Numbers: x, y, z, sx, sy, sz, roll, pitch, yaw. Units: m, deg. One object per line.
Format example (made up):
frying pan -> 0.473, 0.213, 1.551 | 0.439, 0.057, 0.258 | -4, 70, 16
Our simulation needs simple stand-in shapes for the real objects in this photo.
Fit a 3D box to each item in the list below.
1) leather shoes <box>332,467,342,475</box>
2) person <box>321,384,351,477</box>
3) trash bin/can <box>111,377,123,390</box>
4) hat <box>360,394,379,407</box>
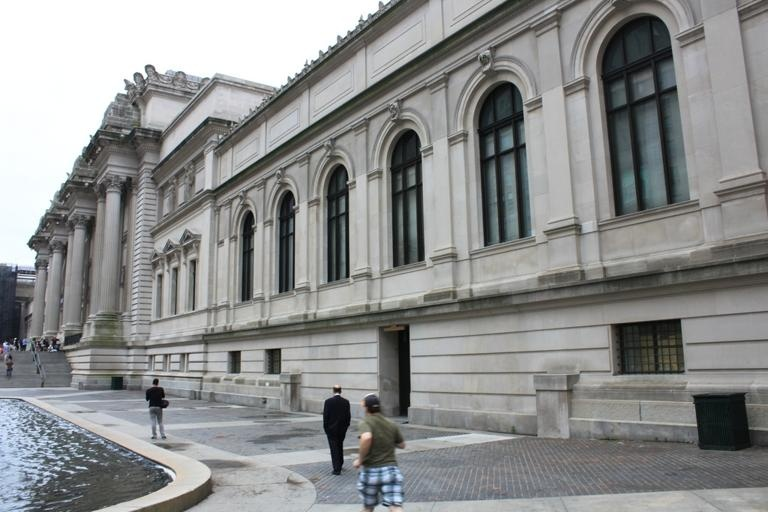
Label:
leather shoes -> -1.222, 5.638, 16.501 | 0.237, 0.185, 0.195 | 1, -15, -4
person -> -1.252, 4.644, 16.920 | 0.669, 2.292, 0.843 | 5, -15, -19
trash bin/can -> -20.742, 9.845, 48.637 | 0.873, 1.283, 0.918 | 3, -6, -21
hat -> -0.236, 2.885, 12.502 | 0.215, 0.236, 0.280 | 11, -4, -40
